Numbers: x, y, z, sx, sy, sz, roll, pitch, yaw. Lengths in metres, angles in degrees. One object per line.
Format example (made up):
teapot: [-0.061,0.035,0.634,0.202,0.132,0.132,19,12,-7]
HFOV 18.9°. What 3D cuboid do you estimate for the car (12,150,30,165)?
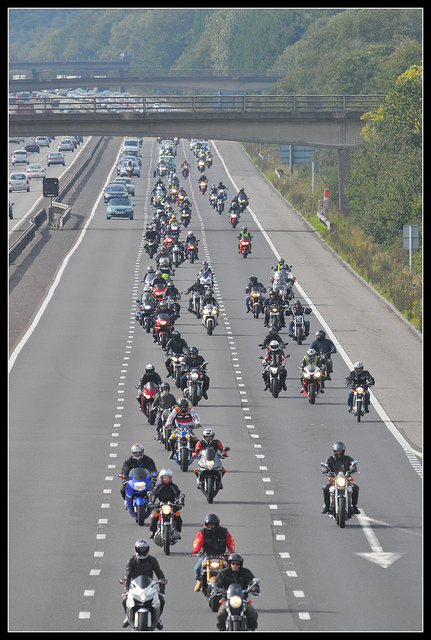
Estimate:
car: [-18.003,-14.841,119.573,1.424,1.205,2.217,-1,8,-12]

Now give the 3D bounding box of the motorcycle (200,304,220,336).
motorcycle: [-0.208,0.036,40.557,0.568,1.231,1.836,-1,3,0]

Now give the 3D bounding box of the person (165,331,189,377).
person: [-0.979,0.687,32.059,0.439,0.759,1.049,-2,4,-4]

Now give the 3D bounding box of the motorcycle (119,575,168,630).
motorcycle: [-0.865,3.383,15.414,0.488,0.901,1.328,-1,-8,-1]

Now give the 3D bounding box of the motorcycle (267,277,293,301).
motorcycle: [2.194,-1.019,43.939,0.577,0.771,1.073,0,-2,3]

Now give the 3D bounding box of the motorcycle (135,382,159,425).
motorcycle: [-1.538,1.754,28.386,0.394,0.895,1.293,0,7,-10]

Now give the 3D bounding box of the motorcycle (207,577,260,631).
motorcycle: [0.205,3.292,15.259,0.457,0.617,1.197,1,8,0]

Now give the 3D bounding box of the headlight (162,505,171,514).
headlight: [-0.730,2.780,18.977,0.079,0.067,0.100,0,15,1]

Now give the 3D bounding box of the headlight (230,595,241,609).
headlight: [0.222,3.207,14.702,0.092,0.143,0.026,-5,0,7]

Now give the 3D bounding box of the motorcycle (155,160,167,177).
motorcycle: [-4.498,-12.252,106.633,0.598,1.038,1.530,-1,14,-8]

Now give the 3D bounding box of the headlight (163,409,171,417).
headlight: [-0.969,1.843,25.495,0.092,0.157,0.122,2,-17,-1]

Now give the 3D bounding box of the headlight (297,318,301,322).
headlight: [2.453,0.029,38.443,0.115,0.123,0.077,1,6,-1]

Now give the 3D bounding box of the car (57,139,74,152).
car: [-15.833,-18.384,137.467,1.544,1.282,2.318,0,8,-9]

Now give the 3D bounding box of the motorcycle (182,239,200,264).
motorcycle: [-1.125,-2.955,57.007,0.606,1.091,1.563,-2,6,-2]

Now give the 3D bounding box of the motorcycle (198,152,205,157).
motorcycle: [-1.311,-14.697,115.924,0.683,0.318,0.827,-2,14,2]

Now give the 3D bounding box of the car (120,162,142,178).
car: [-7.114,-12.297,107.049,1.238,1.176,2.721,-1,13,-3]

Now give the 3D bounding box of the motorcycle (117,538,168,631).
motorcycle: [-0.866,3.215,15.693,0.420,0.937,1.360,-2,-3,-2]

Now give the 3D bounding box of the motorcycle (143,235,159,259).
motorcycle: [-2.951,-3.295,59.354,0.603,1.154,1.929,0,7,-3]

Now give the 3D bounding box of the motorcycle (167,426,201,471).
motorcycle: [-0.599,2.413,24.077,0.531,1.139,1.680,0,0,-3]

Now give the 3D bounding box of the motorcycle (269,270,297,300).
motorcycle: [2.381,-1.228,45.367,0.545,0.956,1.328,-1,6,2]

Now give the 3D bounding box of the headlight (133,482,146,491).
headlight: [-1.208,2.647,20.531,0.168,0.120,0.073,0,6,-4]

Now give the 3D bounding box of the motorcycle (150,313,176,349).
motorcycle: [-1.524,0.354,37.074,0.609,1.335,1.919,-1,2,0]

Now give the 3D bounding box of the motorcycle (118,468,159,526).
motorcycle: [-1.240,2.795,21.024,0.407,0.923,1.373,-3,5,-6]

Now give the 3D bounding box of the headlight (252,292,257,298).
headlight: [1.258,-0.814,42.803,0.107,0.157,0.088,2,1,13]

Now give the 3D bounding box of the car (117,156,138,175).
car: [-7.636,-12.974,111.954,1.270,1.444,3.448,-1,9,-4]

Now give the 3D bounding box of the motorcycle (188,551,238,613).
motorcycle: [-0.059,3.332,16.917,0.395,0.800,1.109,1,3,-5]

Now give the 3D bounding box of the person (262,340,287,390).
person: [1.425,0.942,31.647,0.418,0.793,1.155,-2,6,2]

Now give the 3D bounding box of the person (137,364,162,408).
person: [-1.512,1.697,28.362,0.357,0.817,1.210,-1,5,-11]

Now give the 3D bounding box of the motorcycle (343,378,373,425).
motorcycle: [3.140,1.793,28.482,0.424,1.024,0.681,-4,8,-40]

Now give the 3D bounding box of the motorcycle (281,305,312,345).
motorcycle: [2.445,0.205,39.717,0.752,1.234,1.626,0,2,1]

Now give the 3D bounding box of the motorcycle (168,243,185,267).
motorcycle: [-1.719,-2.785,55.731,0.839,1.465,1.829,-1,2,0]

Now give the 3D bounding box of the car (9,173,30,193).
car: [-14.845,-10.239,97.785,1.399,1.378,1.188,-1,7,-14]

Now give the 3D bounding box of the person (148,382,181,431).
person: [-1.035,1.693,26.006,0.441,0.752,1.051,2,4,-3]

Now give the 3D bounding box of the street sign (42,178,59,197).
street sign: [-9.898,-7.845,77.696,0.854,1.082,1.667,-1,8,-13]
